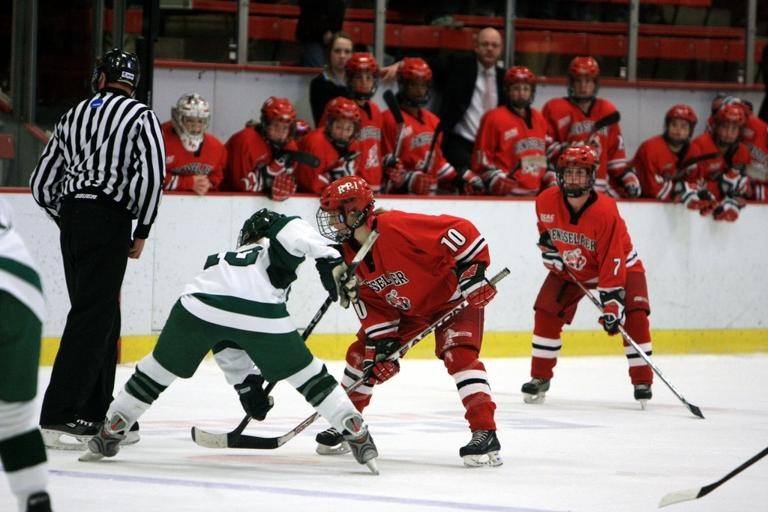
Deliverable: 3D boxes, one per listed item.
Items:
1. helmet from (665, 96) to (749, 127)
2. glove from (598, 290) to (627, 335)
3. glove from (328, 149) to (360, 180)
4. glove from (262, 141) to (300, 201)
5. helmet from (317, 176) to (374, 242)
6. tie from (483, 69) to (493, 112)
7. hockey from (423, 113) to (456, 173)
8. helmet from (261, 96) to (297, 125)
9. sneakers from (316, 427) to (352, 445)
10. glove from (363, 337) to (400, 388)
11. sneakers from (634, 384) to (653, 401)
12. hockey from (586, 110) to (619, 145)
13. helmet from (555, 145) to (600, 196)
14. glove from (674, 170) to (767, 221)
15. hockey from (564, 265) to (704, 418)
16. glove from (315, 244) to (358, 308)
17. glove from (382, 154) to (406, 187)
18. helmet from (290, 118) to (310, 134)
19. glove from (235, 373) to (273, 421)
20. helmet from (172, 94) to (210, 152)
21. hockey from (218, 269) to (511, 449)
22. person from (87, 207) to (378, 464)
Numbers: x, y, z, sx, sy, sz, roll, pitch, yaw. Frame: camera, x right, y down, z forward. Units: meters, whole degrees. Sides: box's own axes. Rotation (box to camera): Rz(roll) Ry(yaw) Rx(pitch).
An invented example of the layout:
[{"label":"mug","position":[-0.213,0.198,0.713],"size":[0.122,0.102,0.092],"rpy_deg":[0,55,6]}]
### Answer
[{"label":"helmet","position":[2.839,-1.287,9.014],"size":[0.673,0.246,0.396],"rpy_deg":[0,7,7]},{"label":"glove","position":[1.510,0.355,6.840],"size":[0.168,0.316,0.166],"rpy_deg":[3,6,11]},{"label":"glove","position":[-0.313,-0.715,8.112],"size":[0.300,0.080,0.156],"rpy_deg":[-39,30,-2]},{"label":"glove","position":[-0.788,-0.652,7.917],"size":[0.272,0.427,0.176],"rpy_deg":[-5,7,-43]},{"label":"helmet","position":[-0.196,-0.277,5.688],"size":[0.335,0.326,0.317],"rpy_deg":[-4,11,34]},{"label":"tie","position":[0.897,-1.417,8.815],"size":[0.082,0.339,0.050],"rpy_deg":[1,6,-8]},{"label":"hockey","position":[0.403,-0.890,8.461],"size":[0.087,0.606,0.092],"rpy_deg":[29,-7,-29]},{"label":"helmet","position":[-0.810,-1.096,7.894],"size":[0.201,0.226,0.238],"rpy_deg":[7,30,-12]},{"label":"sneakers","position":[-0.246,0.965,5.571],"size":[0.241,0.094,0.084],"rpy_deg":[6,-4,-11]},{"label":"glove","position":[-0.026,0.575,5.651],"size":[0.252,0.253,0.125],"rpy_deg":[-26,-38,25]},{"label":"sneakers","position":[1.733,0.910,6.889],"size":[0.113,0.125,0.153],"rpy_deg":[3,6,13]},{"label":"hockey","position":[1.897,-1.117,8.901],"size":[0.331,0.286,0.078],"rpy_deg":[-3,8,-37]},{"label":"helmet","position":[1.345,-0.595,7.001],"size":[0.265,0.328,0.354],"rpy_deg":[3,10,34]},{"label":"glove","position":[2.882,-0.525,8.889],"size":[0.547,0.250,0.541],"rpy_deg":[24,35,26]},{"label":"hockey","position":[1.807,0.635,7.630],"size":[0.104,1.174,0.112],"rpy_deg":[-37,-20,0]},{"label":"glove","position":[-0.232,0.092,5.351],"size":[0.097,0.321,0.250],"rpy_deg":[-34,-7,-29]},{"label":"glove","position":[0.070,-0.703,8.400],"size":[0.198,0.251,0.095],"rpy_deg":[-6,-13,21]},{"label":"helmet","position":[-0.656,-1.035,8.202],"size":[0.116,0.136,0.148],"rpy_deg":[5,23,20]},{"label":"glove","position":[-0.691,0.764,5.525],"size":[0.154,0.094,0.241],"rpy_deg":[-6,-28,31]},{"label":"helmet","position":[-1.433,-0.975,7.555],"size":[0.246,0.412,0.202],"rpy_deg":[0,6,-17]},{"label":"hockey","position":[-0.139,0.598,5.856],"size":[1.245,0.210,0.375],"rpy_deg":[-34,-1,-13]},{"label":"person","position":[-0.899,0.466,5.780],"size":[1.439,0.730,1.449],"rpy_deg":[0,46,11]}]
